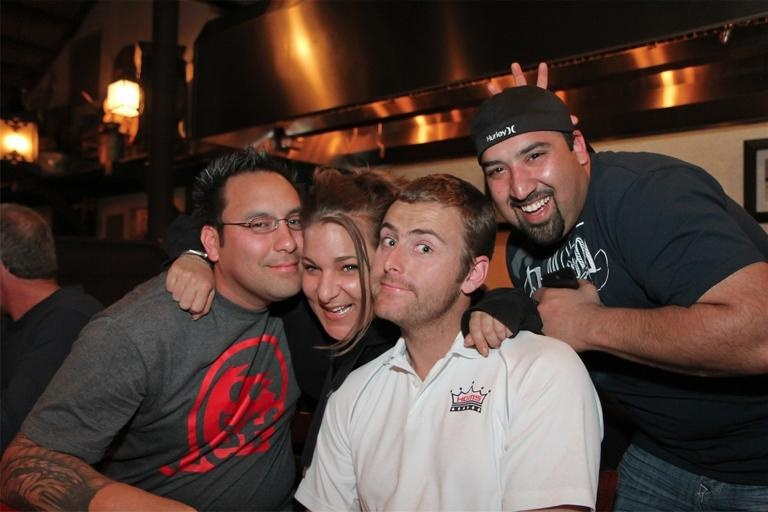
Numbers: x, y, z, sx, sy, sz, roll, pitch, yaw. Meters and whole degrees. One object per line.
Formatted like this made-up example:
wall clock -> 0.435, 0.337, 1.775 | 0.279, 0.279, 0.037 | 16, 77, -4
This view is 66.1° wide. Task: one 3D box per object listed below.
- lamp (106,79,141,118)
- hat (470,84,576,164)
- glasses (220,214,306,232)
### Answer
lamp -> -2.014, -1.214, 4.577 | 0.279, 0.202, 0.264 | 2, -4, -33
hat -> 0.641, -0.620, 2.709 | 0.374, 0.207, 0.355 | -17, 0, -32
glasses -> -0.541, -0.148, 2.755 | 0.166, 0.042, 0.164 | -11, -8, 40
